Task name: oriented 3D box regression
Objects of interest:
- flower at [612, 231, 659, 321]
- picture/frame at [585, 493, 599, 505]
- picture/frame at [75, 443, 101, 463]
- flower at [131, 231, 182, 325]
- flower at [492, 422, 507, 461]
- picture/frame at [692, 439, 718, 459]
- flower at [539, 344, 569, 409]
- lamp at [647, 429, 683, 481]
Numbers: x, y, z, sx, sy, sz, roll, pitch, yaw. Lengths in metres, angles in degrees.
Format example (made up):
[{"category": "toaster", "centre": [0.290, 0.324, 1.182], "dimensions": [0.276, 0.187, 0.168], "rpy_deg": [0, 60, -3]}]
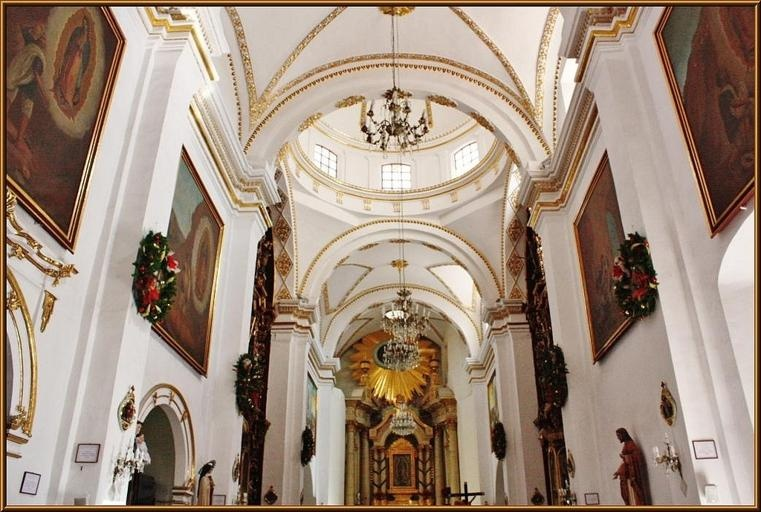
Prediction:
[{"category": "flower", "centre": [3.241, 0.293, 7.015], "dimensions": [0.287, 0.957, 0.810], "rpy_deg": [1, 4, 14]}, {"category": "picture/frame", "centre": [3.407, 3.920, 8.851], "dimensions": [0.164, 0.167, 0.098], "rpy_deg": [1, -21, 2]}, {"category": "picture/frame", "centre": [-3.237, 2.190, 6.063], "dimensions": [0.211, 0.206, 0.024], "rpy_deg": [2, -35, -13]}, {"category": "flower", "centre": [-2.807, 0.278, 6.916], "dimensions": [0.328, 0.981, 0.790], "rpy_deg": [2, -1, 7]}, {"category": "flower", "centre": [3.182, 4.930, 14.758], "dimensions": [0.405, 1.073, 0.418], "rpy_deg": [-11, -23, 12]}, {"category": "picture/frame", "centre": [3.559, 2.120, 6.004], "dimensions": [0.225, 0.225, 0.024], "rpy_deg": [-6, -29, 21]}, {"category": "flower", "centre": [3.098, 2.083, 9.768], "dimensions": [0.478, 1.005, 0.588], "rpy_deg": [-12, -34, 17]}, {"category": "lamp", "centre": [3.518, 2.479, 6.750], "dimensions": [0.306, 0.510, 0.272], "rpy_deg": [11, -20, -29]}]
